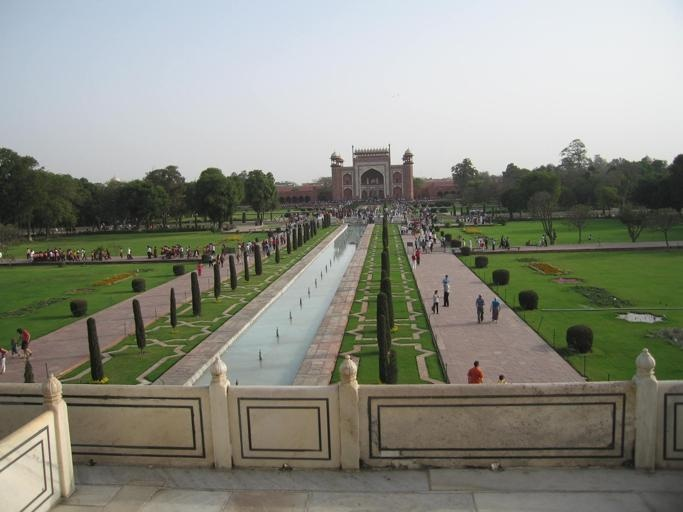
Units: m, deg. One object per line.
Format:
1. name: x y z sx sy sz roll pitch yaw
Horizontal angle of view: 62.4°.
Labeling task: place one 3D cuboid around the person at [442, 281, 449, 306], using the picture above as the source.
1. person: 3.030 1.052 16.338 0.173 0.715 0.594 -1 7 10

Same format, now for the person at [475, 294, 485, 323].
1. person: 3.491 1.339 14.241 0.151 0.650 0.716 0 8 16

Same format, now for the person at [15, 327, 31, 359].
1. person: -7.545 2.096 13.424 0.342 0.726 0.325 -15 -19 9
